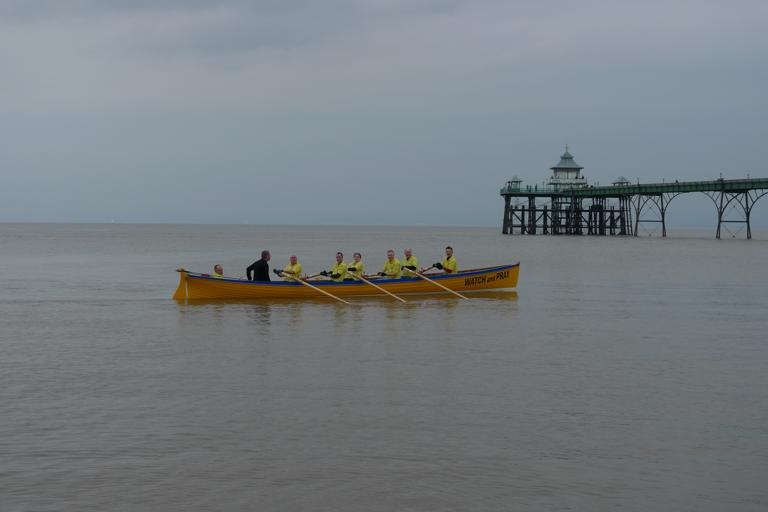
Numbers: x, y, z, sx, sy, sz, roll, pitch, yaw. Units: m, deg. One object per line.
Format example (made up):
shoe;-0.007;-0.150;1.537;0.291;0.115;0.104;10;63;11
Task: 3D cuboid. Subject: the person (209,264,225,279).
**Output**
person;-7.874;0.724;54.609;0.344;0.423;0.697;-12;13;-4

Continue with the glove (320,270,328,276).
glove;-2.418;0.703;46.863;0.206;0.238;0.587;2;-8;-5

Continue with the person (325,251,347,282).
person;-1.828;0.418;45.716;0.814;1.111;1.515;-1;0;-3

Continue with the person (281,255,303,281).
person;-3.596;0.442;45.538;0.785;0.919;1.202;-1;0;-4
